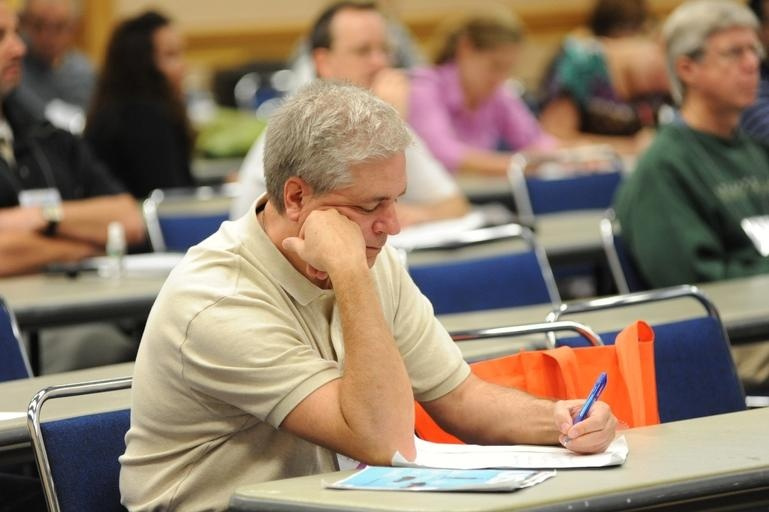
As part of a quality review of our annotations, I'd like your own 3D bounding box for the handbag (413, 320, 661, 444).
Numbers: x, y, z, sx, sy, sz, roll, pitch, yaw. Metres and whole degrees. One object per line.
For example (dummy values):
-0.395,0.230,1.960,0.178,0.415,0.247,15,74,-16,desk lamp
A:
0.368,0.268,2.161,0.359,0.475,0.480,-2,1,-32,handbag
